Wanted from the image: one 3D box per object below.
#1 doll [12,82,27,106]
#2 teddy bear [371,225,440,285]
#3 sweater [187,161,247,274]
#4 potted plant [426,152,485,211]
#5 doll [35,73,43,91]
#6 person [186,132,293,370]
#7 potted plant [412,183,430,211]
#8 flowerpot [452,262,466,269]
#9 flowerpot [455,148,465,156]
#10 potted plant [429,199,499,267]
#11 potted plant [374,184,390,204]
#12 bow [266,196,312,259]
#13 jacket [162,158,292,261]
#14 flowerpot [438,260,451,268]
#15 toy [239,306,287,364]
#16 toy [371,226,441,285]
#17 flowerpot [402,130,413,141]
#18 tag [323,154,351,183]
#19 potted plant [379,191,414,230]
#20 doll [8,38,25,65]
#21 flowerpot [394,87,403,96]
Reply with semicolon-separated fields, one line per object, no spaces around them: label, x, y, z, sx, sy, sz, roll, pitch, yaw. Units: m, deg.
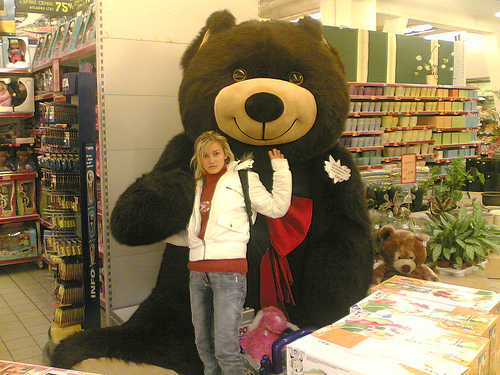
doll;-3.056;-1.262;5.512;0.209;0.250;0.087;3;2;-28
teddy bear;1.066;0.511;2.907;0.518;0.437;0.347;1;8;-2
sweater;-0.152;0.199;2.431;0.436;0.534;0.145;5;-2;25
potted plant;1.967;0.019;4.034;0.473;0.406;0.282;-33;24;-36
doll;-2.848;-1.432;5.588;0.195;0.244;0.066;7;19;45
person;-0.070;0.367;2.443;0.632;1.396;0.317;-11;9;-25
potted plant;1.911;0.114;4.685;0.264;0.313;0.262;1;1;4
flowerpot;1.608;0.607;3.181;0.066;0.044;0.061;-2;4;-18
flowerpot;4.871;-0.817;9.632;0.155;0.181;0.415;-1;9;36
potted plant;1.690;0.365;3.306;0.500;0.451;0.232;-16;-18;-5
potted plant;1.363;0.076;4.306;0.193;0.183;0.182;2;-8;-7
bow;0.257;0.242;2.657;0.389;0.390;0.100;-14;3;23
jacket;-0.175;0.127;2.520;0.961;0.621;0.350;-7;-13;32
flowerpot;1.502;0.595;3.209;0.061;0.025;0.060;2;2;31
toy;0.088;0.952;2.697;0.323;0.213;0.136;-38;8;-39
toy;1.073;0.511;2.914;0.514;0.428;0.264;1;8;5
flowerpot;3.185;-1.064;8.525;0.227;0.215;0.217;-1;2;-25
tag;0.562;-0.111;2.704;0.167;0.126;0.021;41;-7;1
potted plant;1.164;0.175;3.335;0.243;0.274;0.385;-4;8;17
doll;-3.136;-1.834;5.544;0.202;0.323;0.057;-11;9;-24
flowerpot;2.893;-1.878;8.081;0.235;0.165;0.071;-11;9;-35
